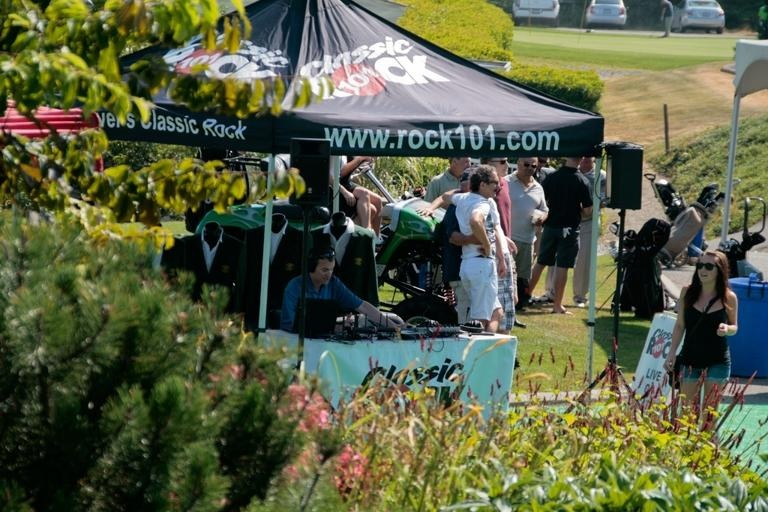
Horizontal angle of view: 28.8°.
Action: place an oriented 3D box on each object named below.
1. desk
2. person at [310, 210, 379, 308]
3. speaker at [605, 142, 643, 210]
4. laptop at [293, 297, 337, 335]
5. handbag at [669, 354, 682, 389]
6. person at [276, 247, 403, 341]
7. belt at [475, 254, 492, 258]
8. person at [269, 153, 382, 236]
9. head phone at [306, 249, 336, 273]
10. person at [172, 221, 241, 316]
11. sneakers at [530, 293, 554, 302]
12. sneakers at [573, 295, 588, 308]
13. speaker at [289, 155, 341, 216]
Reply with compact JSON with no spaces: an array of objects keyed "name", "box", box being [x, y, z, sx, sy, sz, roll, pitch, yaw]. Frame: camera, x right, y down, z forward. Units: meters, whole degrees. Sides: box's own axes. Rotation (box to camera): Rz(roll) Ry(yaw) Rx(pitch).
[{"name":"desk","box":[0.347,0.959,13.061,1.277,0.699,1.253,1,0,-43]},{"name":"person","box":[-0.412,0.055,14.387,0.739,1.100,0.385,-2,25,0]},{"name":"speaker","box":[2.320,-0.784,14.587,0.372,0.652,0.327,4,5,8]},{"name":"laptop","box":[-0.631,0.582,13.483,0.353,0.392,0.290,3,9,-14]},{"name":"handbag","box":[2.677,1.080,13.817,0.105,0.349,0.229,5,-3,8]},{"name":"person","box":[-0.402,0.399,13.594,1.171,0.967,0.625,5,9,33]},{"name":"belt","box":[0.973,-0.005,14.661,0.143,0.034,0.078,3,6,-8]},{"name":"person","box":[-0.611,-0.693,16.792,1.244,0.916,0.663,0,7,6]},{"name":"head phone","box":[-0.583,0.003,13.778,0.195,0.209,0.197,-14,8,15]},{"name":"person","box":[-1.548,0.119,13.076,0.683,0.803,0.199,4,0,-5]},{"name":"sneakers","box":[1.966,0.547,18.853,0.309,0.156,0.113,-6,10,-11]},{"name":"sneakers","box":[2.456,0.568,18.848,0.072,0.107,0.233,3,8,16]},{"name":"speaker","box":[-0.622,-0.668,13.018,0.378,0.776,0.403,1,5,1]}]
